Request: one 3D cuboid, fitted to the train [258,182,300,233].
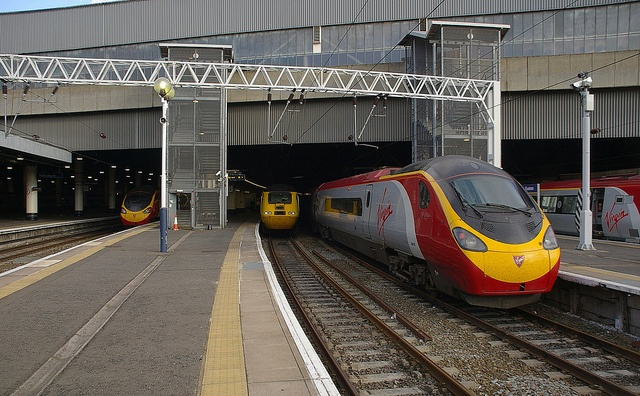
[{"bbox_3d":[-2.672,0.613,30.931,2.347,2.820,1.073,-2,2,-6],"label":"train"}]
